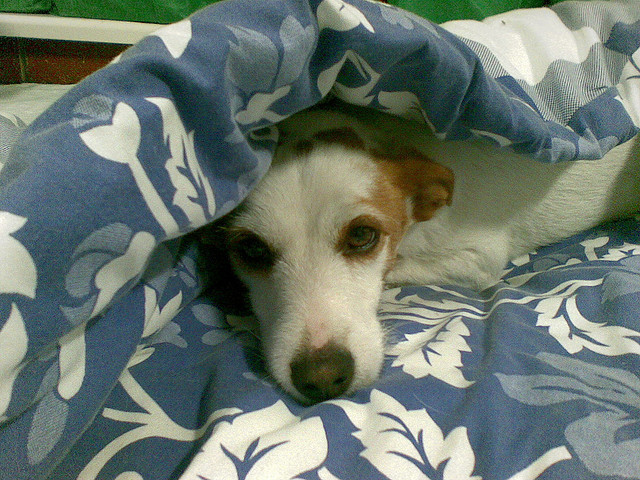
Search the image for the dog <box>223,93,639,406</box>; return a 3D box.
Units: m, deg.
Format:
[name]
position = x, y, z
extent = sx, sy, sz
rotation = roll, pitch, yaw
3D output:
[dog]
position = 0.244, -0.061, 1.715
extent = 0.917, 0.568, 0.327
rotation = -14, 64, -38
